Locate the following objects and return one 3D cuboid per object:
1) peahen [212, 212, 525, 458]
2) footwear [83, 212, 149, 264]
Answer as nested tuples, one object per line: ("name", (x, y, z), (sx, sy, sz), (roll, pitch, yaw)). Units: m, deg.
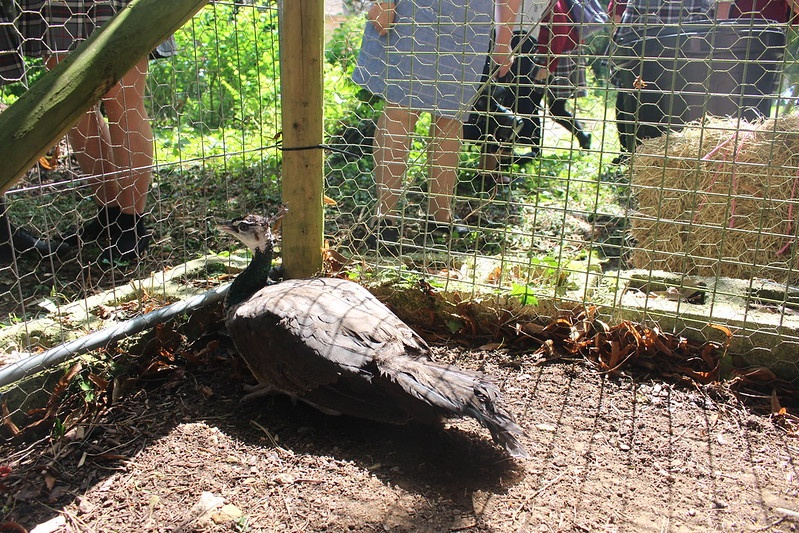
("peahen", (-0.174, 0.512, 4.663), (2.179, 1.148, 0.863), (20, 34, 26))
("footwear", (-2.159, -0.184, 5.586), (0.629, 0.415, 0.259), (13, 18, 19))
